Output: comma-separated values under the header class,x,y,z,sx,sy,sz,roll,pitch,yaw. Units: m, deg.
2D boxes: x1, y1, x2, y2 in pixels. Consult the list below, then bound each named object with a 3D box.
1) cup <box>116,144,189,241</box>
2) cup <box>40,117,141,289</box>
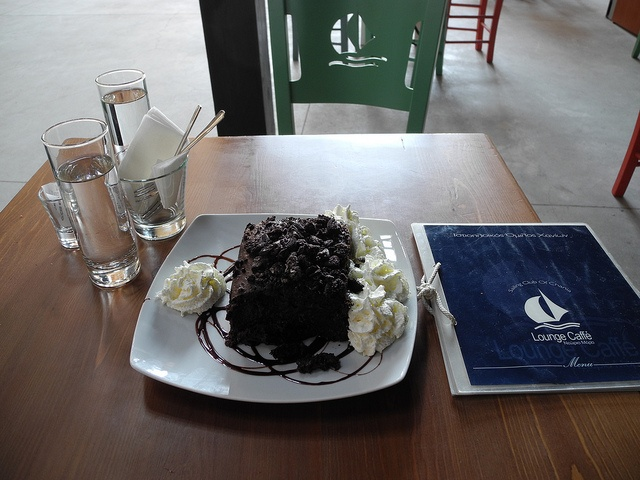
class,x,y,z,sx,sy,sz,roll,pitch,yaw
cup,-0.359,-0.098,1.037,0.167,0.186,0.167,2,34,-1
cup,-0.461,-0.065,0.937,0.105,0.316,0.106,-2,26,1
